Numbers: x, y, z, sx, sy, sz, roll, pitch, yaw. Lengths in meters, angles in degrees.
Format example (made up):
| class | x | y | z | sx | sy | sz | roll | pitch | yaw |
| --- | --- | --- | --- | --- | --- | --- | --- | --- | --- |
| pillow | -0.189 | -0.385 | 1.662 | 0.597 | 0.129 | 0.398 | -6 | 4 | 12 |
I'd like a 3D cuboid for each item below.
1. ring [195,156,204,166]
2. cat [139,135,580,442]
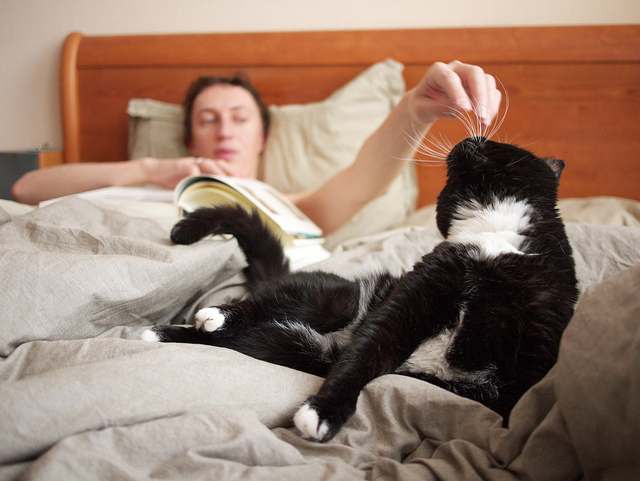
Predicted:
| class | x | y | z | sx | sy | sz | roll | pitch | yaw |
| --- | --- | --- | --- | --- | --- | --- | --- | --- | --- |
| ring | -0.421 | -0.278 | 2.155 | 0.024 | 0.006 | 0.026 | -8 | 33 | 6 |
| cat | 0.049 | 0.091 | 1.724 | 0.629 | 0.647 | 1.026 | 32 | -21 | -24 |
